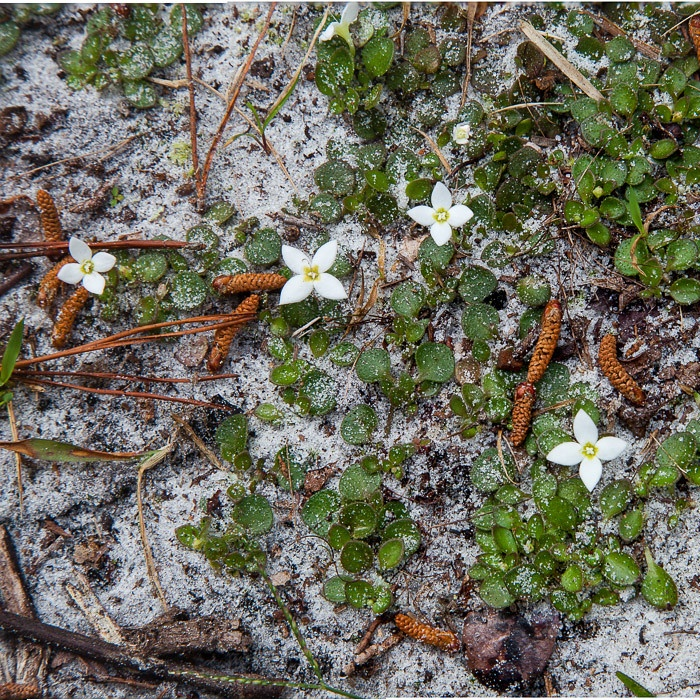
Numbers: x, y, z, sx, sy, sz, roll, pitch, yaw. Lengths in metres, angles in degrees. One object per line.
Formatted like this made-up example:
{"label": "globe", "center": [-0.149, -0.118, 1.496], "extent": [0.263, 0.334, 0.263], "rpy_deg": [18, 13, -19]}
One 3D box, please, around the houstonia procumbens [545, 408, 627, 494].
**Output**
{"label": "houstonia procumbens", "center": [0.707, 0.306, 2.344], "extent": [0.160, 0.171, 0.160], "rpy_deg": [35, 61, 22]}

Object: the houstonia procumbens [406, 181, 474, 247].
{"label": "houstonia procumbens", "center": [0.290, -0.427, 2.466], "extent": [0.212, 0.050, 0.200], "rpy_deg": [0, 97, 10]}

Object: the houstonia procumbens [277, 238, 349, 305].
{"label": "houstonia procumbens", "center": [-0.121, -0.236, 2.383], "extent": [0.198, 0.112, 0.171], "rpy_deg": [-5, 54, -4]}

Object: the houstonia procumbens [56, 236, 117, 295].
{"label": "houstonia procumbens", "center": [-0.824, -0.266, 2.471], "extent": [0.174, 0.070, 0.177], "rpy_deg": [-27, 101, 0]}
